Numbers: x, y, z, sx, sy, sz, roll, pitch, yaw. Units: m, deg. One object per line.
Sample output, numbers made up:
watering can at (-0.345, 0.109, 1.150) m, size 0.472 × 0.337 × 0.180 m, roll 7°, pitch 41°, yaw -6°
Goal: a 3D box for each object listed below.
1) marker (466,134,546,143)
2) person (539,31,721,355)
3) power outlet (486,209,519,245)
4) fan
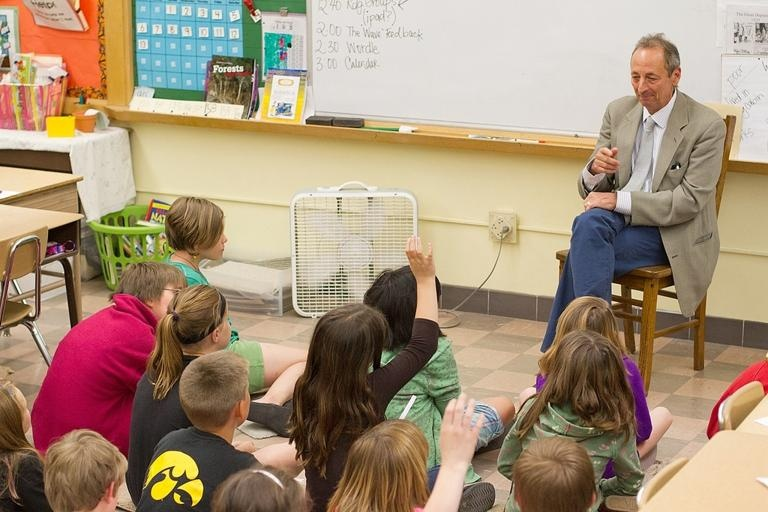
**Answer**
marker at (0.859, -0.810, 3.913) m, size 0.305 × 0.035 × 0.045 m, roll 7°, pitch 21°, yaw 9°
person at (1.409, -0.297, 3.310) m, size 1.191 × 1.839 × 0.772 m, roll -7°, pitch 15°, yaw -30°
power outlet at (0.845, -0.201, 4.058) m, size 0.199 × 0.221 × 0.061 m, roll 7°, pitch 27°, yaw 20°
fan at (-0.207, -0.039, 3.679) m, size 0.884 × 0.996 × 0.343 m, roll 2°, pitch 10°, yaw 6°
